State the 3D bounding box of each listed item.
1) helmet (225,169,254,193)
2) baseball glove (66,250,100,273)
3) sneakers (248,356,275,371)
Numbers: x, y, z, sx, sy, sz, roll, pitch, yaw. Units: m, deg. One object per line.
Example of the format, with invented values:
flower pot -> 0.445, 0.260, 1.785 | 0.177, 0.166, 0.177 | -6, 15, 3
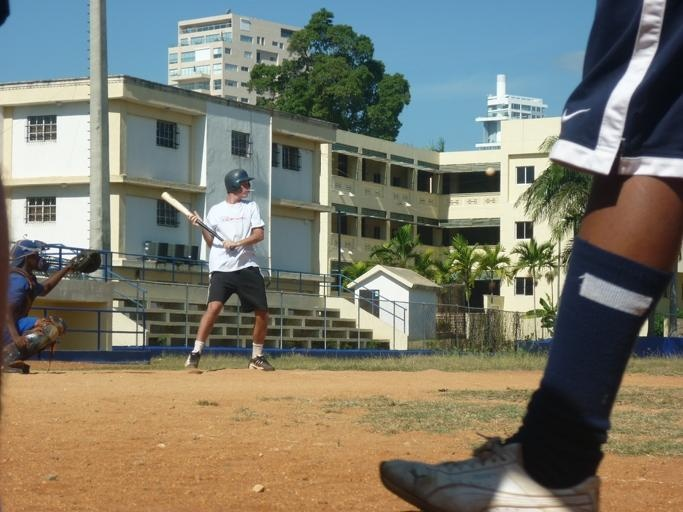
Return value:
helmet -> -1.132, -0.829, 13.958 | 0.274, 0.239, 0.212 | -5, 5, -1
baseball glove -> -2.862, 0.070, 14.154 | 0.199, 0.127, 0.339 | -43, 14, -25
sneakers -> -0.851, 1.139, 13.448 | 0.256, 0.126, 0.124 | -6, -7, 38
